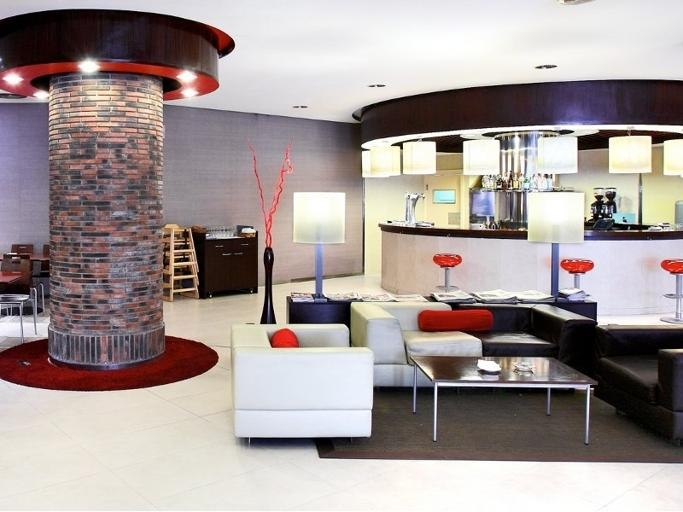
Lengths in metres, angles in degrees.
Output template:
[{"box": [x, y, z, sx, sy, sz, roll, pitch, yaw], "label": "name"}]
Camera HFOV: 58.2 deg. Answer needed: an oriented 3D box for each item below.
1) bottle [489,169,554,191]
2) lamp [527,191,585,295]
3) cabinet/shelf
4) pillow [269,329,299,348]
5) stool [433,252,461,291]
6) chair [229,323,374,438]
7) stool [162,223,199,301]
[{"box": [2.996, -1.295, 10.549, 1.173, 0.323, 0.409, 4, 9, 23], "label": "bottle"}, {"box": [2.620, -0.176, 7.585, 0.642, 1.245, 0.849, 3, 9, 19], "label": "lamp"}, {"box": [-2.318, 0.131, 11.452, 1.430, 1.374, 0.838, -2, 2, -44], "label": "cabinet/shelf"}, {"box": [-0.505, 0.733, 5.473, 0.186, 0.106, 0.211, 2, 7, 22], "label": "pillow"}, {"box": [1.494, 0.259, 9.770, 0.646, 0.645, 0.607, 1, -1, -1], "label": "stool"}, {"box": [-0.355, 0.955, 5.309, 1.090, 0.610, 1.082, 0, 5, -8], "label": "chair"}, {"box": [-2.964, 0.101, 11.178, 0.641, 1.363, 0.860, 2, 9, 8], "label": "stool"}]
